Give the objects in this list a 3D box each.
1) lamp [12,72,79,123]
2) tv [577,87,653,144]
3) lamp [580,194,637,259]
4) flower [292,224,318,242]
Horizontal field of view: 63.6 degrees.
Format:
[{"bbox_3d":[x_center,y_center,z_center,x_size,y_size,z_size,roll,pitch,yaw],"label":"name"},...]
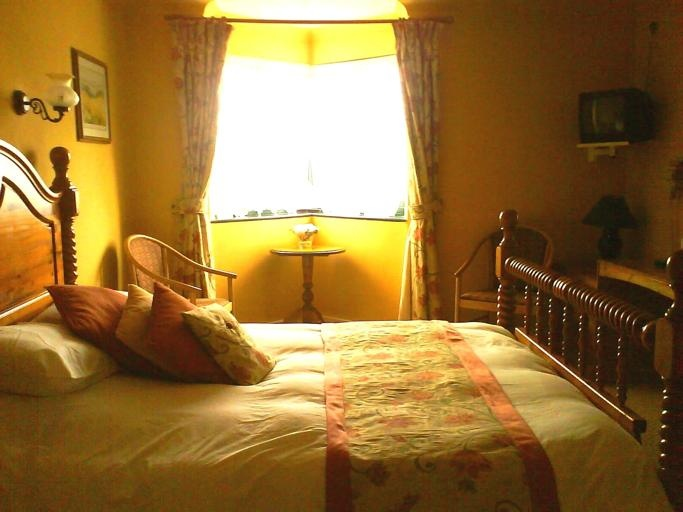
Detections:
[{"bbox_3d":[-1.616,-0.844,3.019,0.320,0.245,0.170,-2,1,10],"label":"lamp"},{"bbox_3d":[2.006,-1.010,4.020,0.442,0.339,0.436,-12,11,-32],"label":"tv"},{"bbox_3d":[1.935,-0.252,4.166,0.423,0.543,0.443,-4,8,-4],"label":"lamp"},{"bbox_3d":[-0.312,-0.211,4.802,0.186,0.107,0.154,-2,15,-14],"label":"flower"}]
